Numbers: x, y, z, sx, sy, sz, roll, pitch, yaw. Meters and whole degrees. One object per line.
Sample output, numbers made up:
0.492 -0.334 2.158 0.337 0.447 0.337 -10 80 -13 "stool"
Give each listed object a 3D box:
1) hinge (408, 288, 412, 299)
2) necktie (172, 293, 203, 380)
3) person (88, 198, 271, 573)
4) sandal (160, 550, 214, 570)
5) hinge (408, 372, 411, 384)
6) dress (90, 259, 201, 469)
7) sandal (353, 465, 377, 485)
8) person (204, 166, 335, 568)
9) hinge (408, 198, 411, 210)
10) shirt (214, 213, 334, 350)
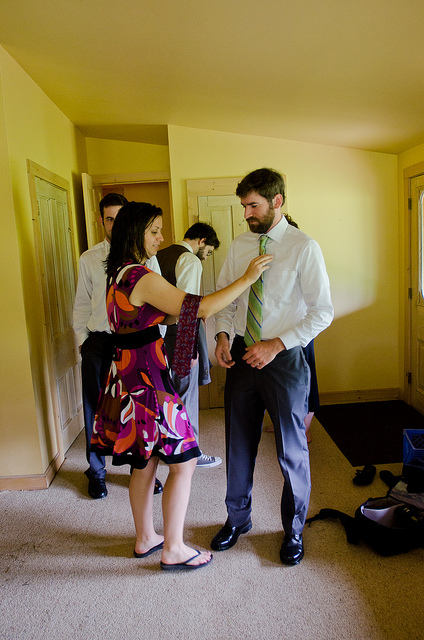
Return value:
1.627 -0.218 3.747 0.008 0.089 0.041 -4 5 -16 "hinge"
-0.098 0.062 1.556 0.102 0.334 0.042 -2 25 -19 "necktie"
-0.185 0.288 1.883 0.629 1.467 0.791 -4 5 -8 "person"
-0.114 0.961 1.834 0.129 0.034 0.068 -1 -2 -12 "sandal"
1.656 0.487 3.820 0.005 0.089 0.032 -5 5 -22 "hinge"
-0.289 0.161 1.631 0.412 0.748 0.199 -1 5 24 "dress"
0.861 0.881 2.579 0.105 0.042 0.202 0 6 27 "sandal"
0.175 0.172 1.846 0.531 1.532 0.429 3 4 31 "person"
1.581 -0.937 3.645 0.006 0.086 0.026 -6 6 -36 "hinge"
0.216 -0.150 1.884 0.569 0.545 0.297 10 16 41 "shirt"
